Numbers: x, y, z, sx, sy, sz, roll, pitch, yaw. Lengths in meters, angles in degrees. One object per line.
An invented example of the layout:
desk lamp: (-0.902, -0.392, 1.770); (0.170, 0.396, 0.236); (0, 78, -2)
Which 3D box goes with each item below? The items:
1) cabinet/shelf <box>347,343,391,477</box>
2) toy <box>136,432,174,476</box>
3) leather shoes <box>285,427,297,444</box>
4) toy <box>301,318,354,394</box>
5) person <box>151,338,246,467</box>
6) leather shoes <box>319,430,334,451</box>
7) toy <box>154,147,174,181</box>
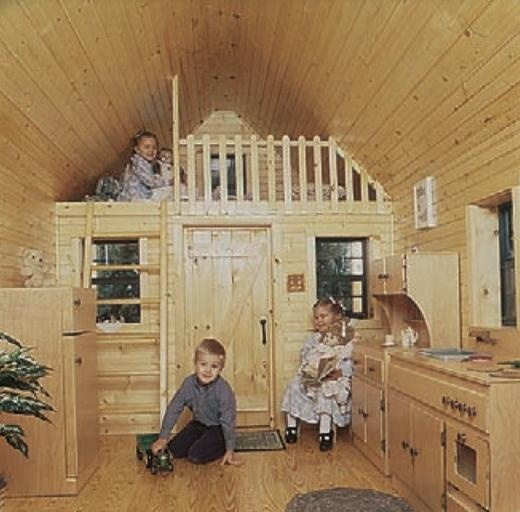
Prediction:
cabinet/shelf: (0.765, 1.080, 4.231); (0.354, 0.781, 0.781); (1, -4, 1)
toy: (-0.733, 1.384, 4.195); (0.160, 0.136, 0.278); (5, -1, -23)
leather shoes: (0.239, 1.400, 4.748); (0.085, 0.106, 0.114); (0, -9, 1)
toy: (0.529, 0.821, 4.886); (0.239, 0.525, 0.391); (28, -23, -34)
person: (-0.457, 1.038, 4.365); (0.576, 0.856, 0.423); (-1, 1, -5)
leather shoes: (0.491, 1.371, 4.532); (0.093, 0.116, 0.279); (-2, -13, 10)
toy: (-0.926, -0.840, 5.872); (0.196, 0.326, 0.098); (0, -21, -28)
